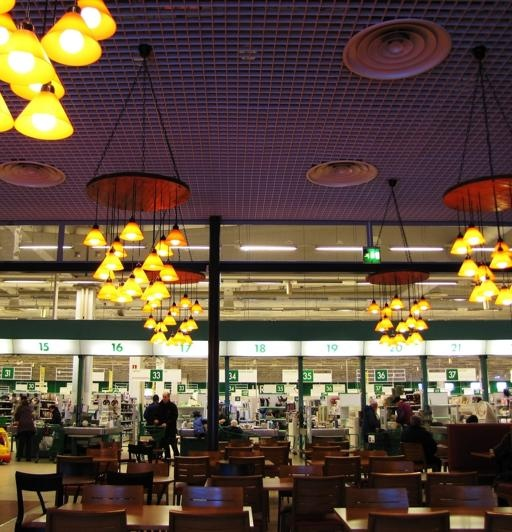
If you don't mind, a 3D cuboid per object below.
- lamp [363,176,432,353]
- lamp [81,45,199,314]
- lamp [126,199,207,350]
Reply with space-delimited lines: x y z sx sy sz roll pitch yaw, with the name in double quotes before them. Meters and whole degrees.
"lamp" 2.707 -0.144 10.886 1.480 3.206 1.315 1 -10 -14
"lamp" -1.227 -1.074 6.056 1.296 2.882 1.306 0 0 15
"lamp" -1.675 0.122 9.980 1.388 2.339 1.094 2 -6 25
